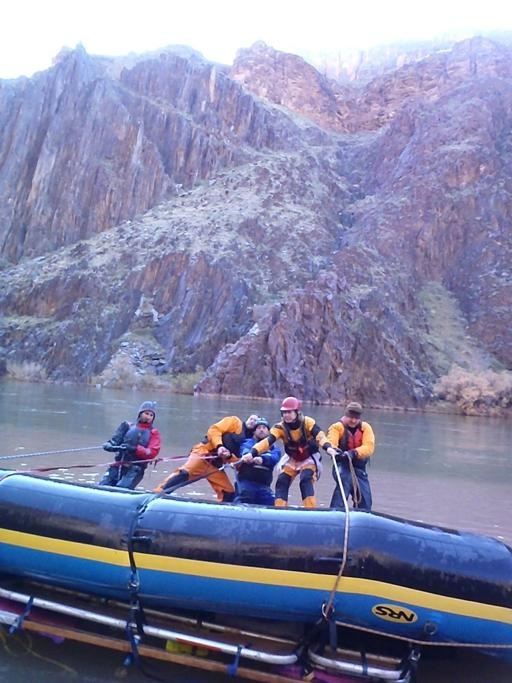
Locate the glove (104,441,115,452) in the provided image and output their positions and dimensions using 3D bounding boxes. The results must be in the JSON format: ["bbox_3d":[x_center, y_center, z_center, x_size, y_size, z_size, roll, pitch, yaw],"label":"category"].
[{"bbox_3d":[-1.896,1.358,7.441,0.132,0.131,0.461,5,-3,-17],"label":"glove"}]

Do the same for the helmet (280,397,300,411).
[{"bbox_3d":[0.436,0.759,7.026,0.172,0.116,0.242,-1,-4,24],"label":"helmet"}]

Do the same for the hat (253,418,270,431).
[{"bbox_3d":[0.082,1.025,7.286,0.148,0.153,0.199,1,-25,0],"label":"hat"}]

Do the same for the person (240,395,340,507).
[{"bbox_3d":[0.340,1.434,6.985,1.062,1.395,0.943,3,-19,-9],"label":"person"}]

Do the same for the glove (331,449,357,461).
[{"bbox_3d":[1.025,1.322,6.721,0.232,0.108,0.319,7,-3,11],"label":"glove"}]

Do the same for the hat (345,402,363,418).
[{"bbox_3d":[1.231,0.861,7.180,0.220,0.173,0.335,18,-1,1],"label":"hat"}]
